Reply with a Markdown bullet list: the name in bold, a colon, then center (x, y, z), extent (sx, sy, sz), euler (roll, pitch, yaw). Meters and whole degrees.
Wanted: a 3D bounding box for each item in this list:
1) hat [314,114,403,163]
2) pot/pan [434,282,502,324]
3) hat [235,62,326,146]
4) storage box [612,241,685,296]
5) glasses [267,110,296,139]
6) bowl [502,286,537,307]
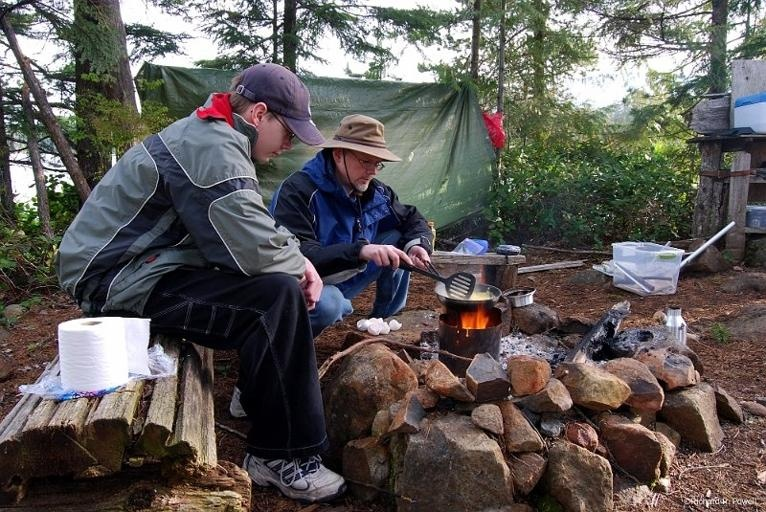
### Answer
- **hat**: center (-0.172, -1.030, 5.114), extent (0.482, 0.234, 0.486), euler (15, 12, 19)
- **pot/pan**: center (0.733, 0.398, 5.047), extent (0.545, 0.280, 0.431), euler (0, 5, 5)
- **hat**: center (-0.718, -1.123, 4.423), extent (0.710, 0.387, 0.465), euler (30, 11, -15)
- **storage box**: center (3.411, 0.153, 7.675), extent (0.601, 0.590, 0.835), euler (-1, 8, -14)
- **glasses**: center (-0.758, -0.957, 4.349), extent (0.053, 0.195, 0.149), euler (-27, -8, 24)
- **bowl**: center (1.393, 0.427, 6.011), extent (0.407, 0.179, 0.245), euler (-2, 5, -10)
